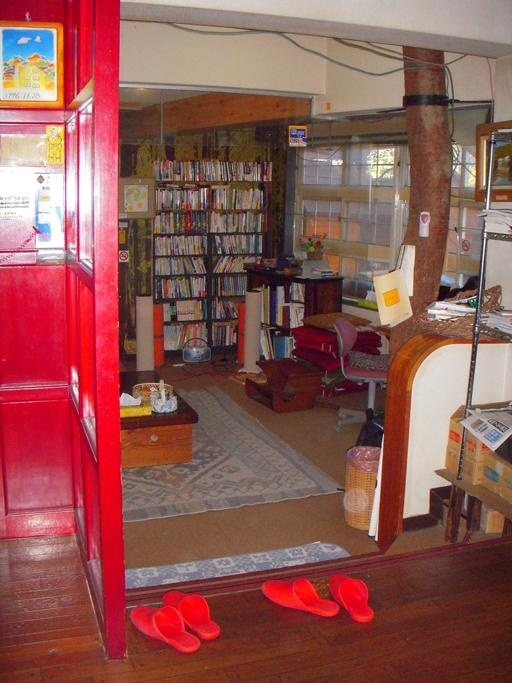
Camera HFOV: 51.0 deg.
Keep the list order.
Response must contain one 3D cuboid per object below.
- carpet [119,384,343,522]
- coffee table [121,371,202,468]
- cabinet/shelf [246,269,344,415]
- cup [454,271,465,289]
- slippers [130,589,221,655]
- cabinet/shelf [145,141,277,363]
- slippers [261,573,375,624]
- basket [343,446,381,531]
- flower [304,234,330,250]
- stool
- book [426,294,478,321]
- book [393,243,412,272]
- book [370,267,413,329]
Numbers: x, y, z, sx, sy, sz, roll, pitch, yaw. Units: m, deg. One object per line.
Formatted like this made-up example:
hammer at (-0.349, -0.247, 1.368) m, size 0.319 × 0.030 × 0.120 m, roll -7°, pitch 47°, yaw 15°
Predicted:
carpet at (-0.325, 0.939, 4.399) m, size 1.481 × 0.341 × 1.876 m, roll 3°, pitch 3°, yaw -14°
coffee table at (-0.747, 0.509, 4.223) m, size 0.586 × 0.287 × 0.900 m, roll -5°, pitch 19°, yaw -19°
cabinet/shelf at (0.469, 0.010, 6.118) m, size 0.655 × 1.602 × 1.575 m, roll -1°, pitch 6°, yaw -20°
cup at (1.931, -0.585, 5.092) m, size 0.071 × 0.104 × 0.131 m, roll 5°, pitch 3°, yaw 21°
slippers at (-0.257, 0.930, 1.776) m, size 0.137 × 0.058 × 0.185 m, roll -5°, pitch 11°, yaw -34°
cabinet/shelf at (-0.658, -1.154, 7.455) m, size 1.629 × 2.690 × 0.597 m, roll 3°, pitch 3°, yaw -12°
slippers at (0.234, 0.936, 2.029) m, size 0.421 × 0.093 × 0.300 m, roll 4°, pitch 3°, yaw 14°
basket at (0.645, 0.914, 3.332) m, size 0.195 × 0.352 × 0.402 m, roll 5°, pitch 3°, yaw 13°
flower at (0.755, -1.260, 6.896) m, size 0.293 × 0.185 × 0.277 m, roll -2°, pitch 10°, yaw 0°
stool at (0.297, 0.456, 5.612) m, size 0.569 × 0.397 × 0.666 m, roll -3°, pitch 11°, yaw -22°
book at (1.054, -0.190, 2.857) m, size 0.236 × 0.070 × 0.132 m, roll -15°, pitch 27°, yaw -16°
book at (0.814, -0.457, 2.933) m, size 0.036 × 0.131 × 0.147 m, roll 9°, pitch 6°, yaw -21°
book at (0.678, -0.224, 2.712) m, size 0.210 × 0.207 × 0.089 m, roll 2°, pitch 3°, yaw -31°
